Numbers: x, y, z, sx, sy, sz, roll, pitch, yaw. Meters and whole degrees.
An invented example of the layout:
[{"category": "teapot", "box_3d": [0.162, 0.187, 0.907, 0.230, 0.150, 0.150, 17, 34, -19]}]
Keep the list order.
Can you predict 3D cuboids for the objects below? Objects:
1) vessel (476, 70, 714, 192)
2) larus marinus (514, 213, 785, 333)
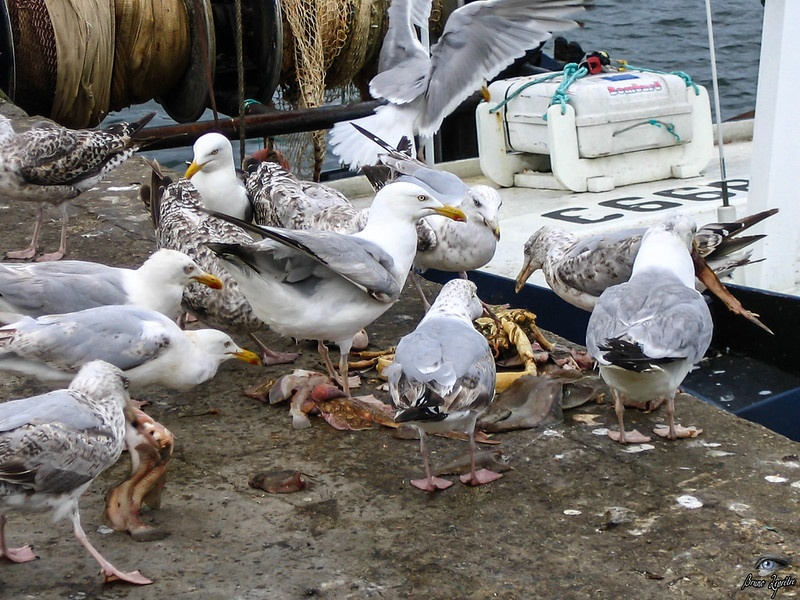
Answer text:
[{"category": "vessel", "box_3d": [2.116, -1.866, 11.583, 2.214, 0.817, 1.686, -14, 17, -38]}, {"category": "larus marinus", "box_3d": [1.504, -0.293, 7.079, 1.563, 0.537, 0.854, -19, 2, 28]}]
